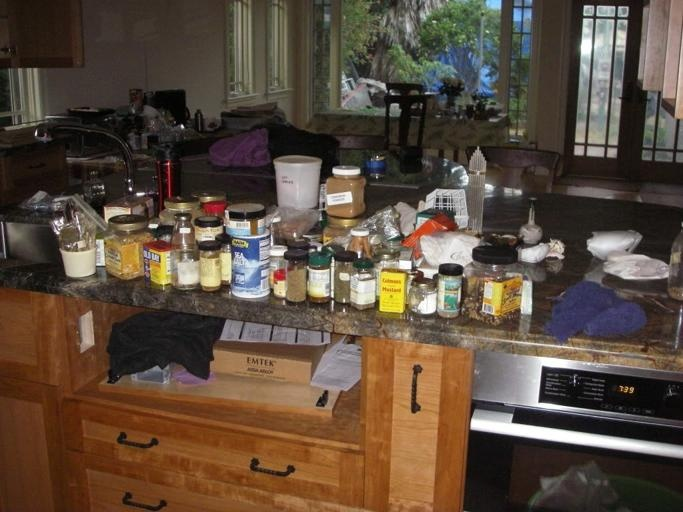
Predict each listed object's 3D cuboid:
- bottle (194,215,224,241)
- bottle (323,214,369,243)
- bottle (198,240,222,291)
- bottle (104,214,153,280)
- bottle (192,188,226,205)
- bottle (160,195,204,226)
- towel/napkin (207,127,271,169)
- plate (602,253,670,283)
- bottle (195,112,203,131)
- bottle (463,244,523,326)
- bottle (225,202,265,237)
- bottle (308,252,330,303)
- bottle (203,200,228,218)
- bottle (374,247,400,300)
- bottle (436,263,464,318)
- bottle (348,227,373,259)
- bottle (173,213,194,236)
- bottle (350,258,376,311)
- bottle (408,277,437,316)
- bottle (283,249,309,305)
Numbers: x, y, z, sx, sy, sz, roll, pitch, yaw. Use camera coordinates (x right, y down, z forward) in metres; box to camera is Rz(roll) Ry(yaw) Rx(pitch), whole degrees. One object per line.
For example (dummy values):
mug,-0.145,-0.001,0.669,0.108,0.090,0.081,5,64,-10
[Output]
bottle,-0.379,-0.079,1.643,0.079,0.053,0.076,2,22,-1
bottle,0.011,-0.094,1.888,0.105,0.100,0.103,-8,16,-36
bottle,-0.371,0.025,1.605,0.071,0.145,0.053,0,16,0
bottle,-0.630,-0.029,1.704,0.140,0.175,0.099,-6,17,-21
bottle,-0.464,-0.206,2.002,0.128,0.028,0.126,1,13,0
bottle,-0.521,-0.159,1.859,0.117,0.099,0.116,10,15,34
towel/napkin,-0.573,-0.574,3.257,0.286,0.096,0.267,-6,37,4
plate,0.867,0.030,1.698,0.133,0.036,0.093,4,26,17
bottle,-1.251,-1.182,5.049,0.071,0.182,0.133,-3,17,-11
bottle,0.380,0.066,1.491,0.136,0.177,0.138,0,16,0
bottle,-0.260,-0.100,1.553,0.094,0.055,0.091,1,7,0
bottle,-0.062,0.054,1.541,0.063,0.141,0.038,-1,17,-4
bottle,-0.391,-0.160,1.831,0.069,0.058,0.068,13,20,34
bottle,0.114,0.043,1.557,0.065,0.136,0.136,-1,16,-4
bottle,0.280,0.080,1.495,0.065,0.139,0.105,4,17,11
bottle,0.051,-0.039,1.617,0.086,0.074,0.074,-2,16,-9
bottle,-0.446,-0.089,1.615,0.061,0.052,0.054,-4,15,-24
bottle,0.056,0.071,1.510,0.066,0.134,0.046,-1,17,-5
bottle,0.204,0.106,1.520,0.095,0.082,0.085,1,11,-3
bottle,-0.122,0.052,1.551,0.060,0.145,0.042,-1,17,-5
